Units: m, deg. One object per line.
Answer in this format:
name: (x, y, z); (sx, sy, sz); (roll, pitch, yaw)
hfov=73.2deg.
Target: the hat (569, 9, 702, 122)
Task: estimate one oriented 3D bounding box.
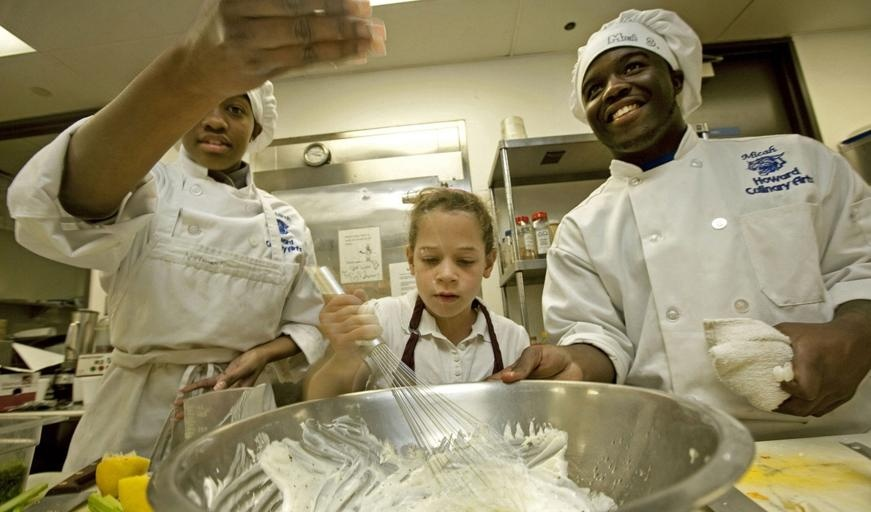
hat: (0.856, -0.794, 2.354); (0.468, 0.465, 0.243); (-8, -11, 12)
